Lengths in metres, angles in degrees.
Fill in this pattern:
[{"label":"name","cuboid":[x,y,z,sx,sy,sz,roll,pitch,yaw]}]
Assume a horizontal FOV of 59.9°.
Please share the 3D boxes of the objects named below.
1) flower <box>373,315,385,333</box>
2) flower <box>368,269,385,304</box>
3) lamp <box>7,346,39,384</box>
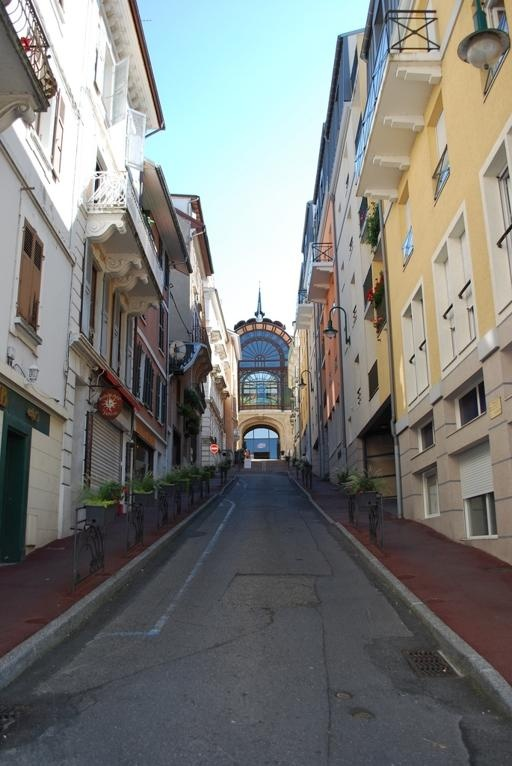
[{"label":"flower","cuboid":[5.755,-2.533,20.832,0.318,1.293,0.566,-3,14,-1]},{"label":"flower","cuboid":[5.554,-4.591,20.877,0.657,2.090,2.067,-2,-12,14]},{"label":"lamp","cuboid":[-5.003,-0.412,9.604,0.250,0.566,1.284,2,-13,-9]}]
